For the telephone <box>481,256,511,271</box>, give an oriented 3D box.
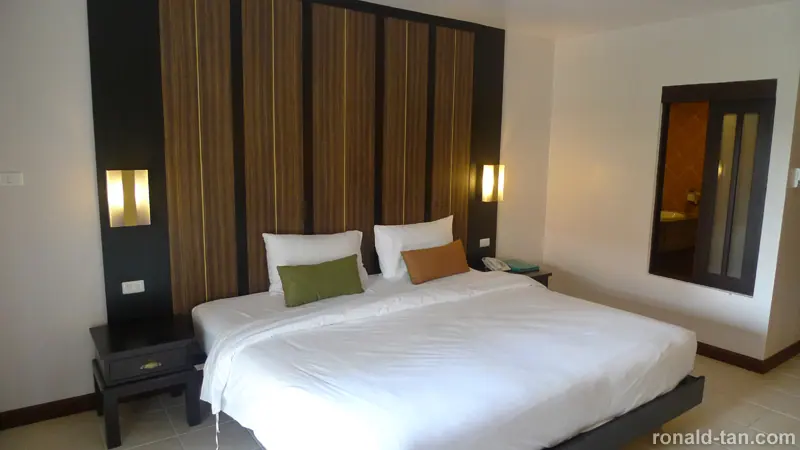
[{"bbox_3d":[1.290,0.539,6.954,0.235,0.085,0.221,17,6,-23],"label":"telephone"}]
